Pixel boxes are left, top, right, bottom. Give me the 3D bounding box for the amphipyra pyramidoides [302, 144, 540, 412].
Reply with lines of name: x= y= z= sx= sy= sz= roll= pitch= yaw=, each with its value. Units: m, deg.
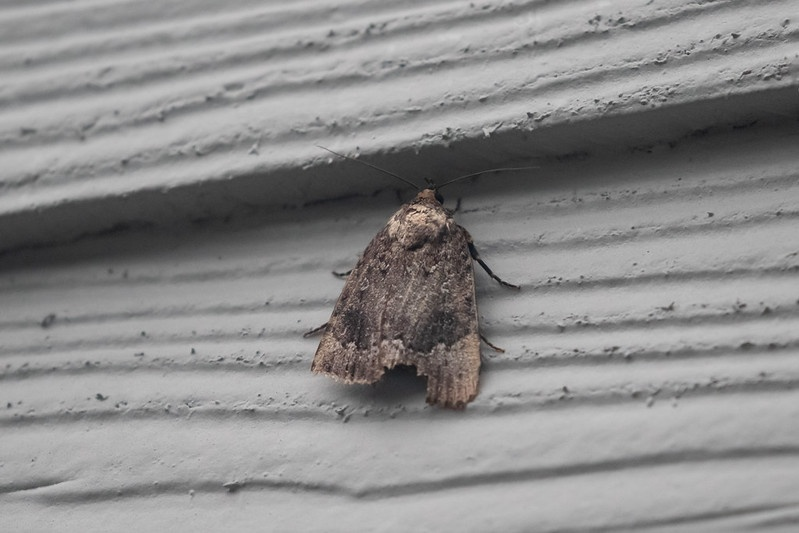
amphipyra pyramidoides: x=0.061 y=0.143 z=7.138 sx=1.287 sy=1.089 sz=0.361 roll=5 pitch=-13 yaw=8
